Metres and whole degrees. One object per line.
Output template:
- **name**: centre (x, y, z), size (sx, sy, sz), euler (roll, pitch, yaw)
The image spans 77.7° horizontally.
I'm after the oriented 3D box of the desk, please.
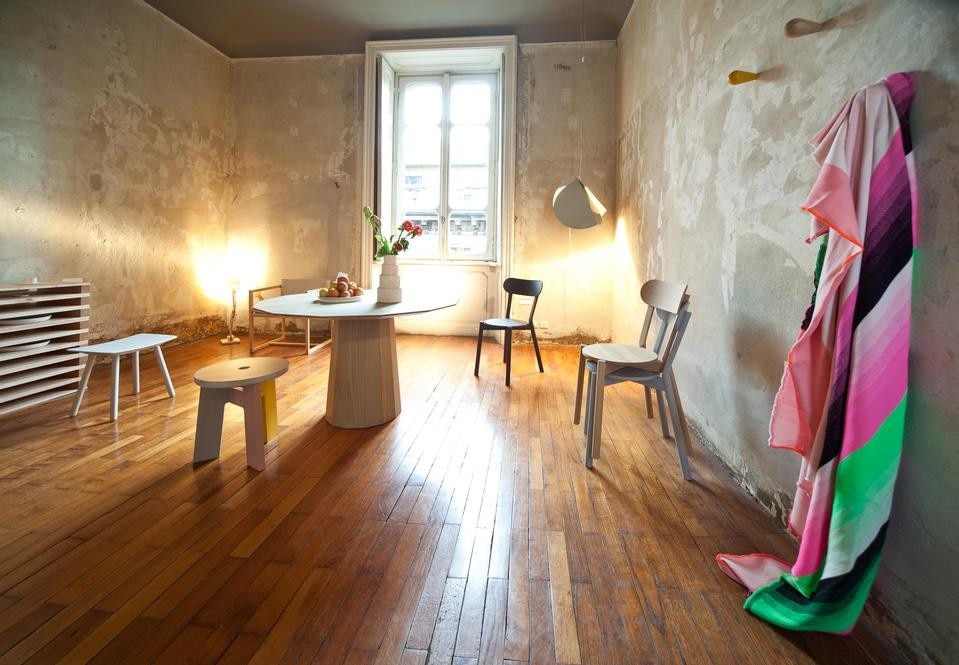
- **desk**: centre (-0.809, 0.194, 3.987), size (1.163, 0.851, 0.905), euler (-6, 12, -22)
